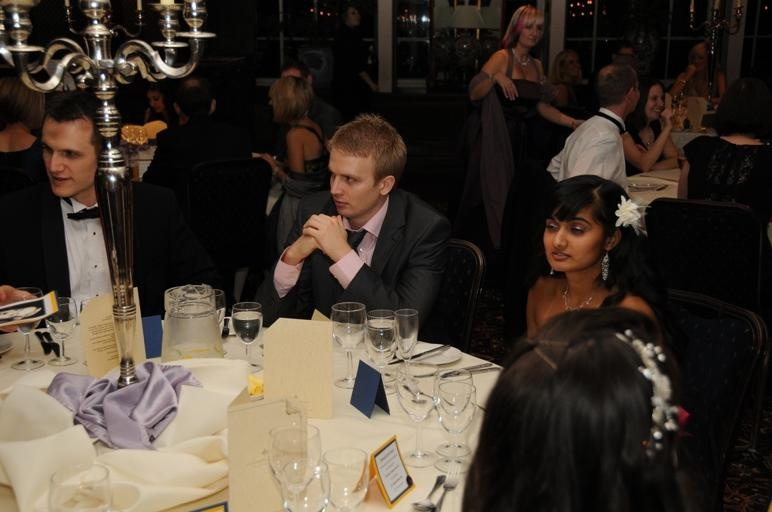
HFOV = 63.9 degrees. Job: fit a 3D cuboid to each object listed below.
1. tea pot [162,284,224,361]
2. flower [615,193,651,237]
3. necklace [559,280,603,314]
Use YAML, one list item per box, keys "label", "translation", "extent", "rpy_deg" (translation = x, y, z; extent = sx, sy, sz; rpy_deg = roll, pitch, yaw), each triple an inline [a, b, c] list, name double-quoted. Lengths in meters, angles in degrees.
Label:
- label: "tea pot"
  translation: [-0.591, 0.194, 1.939]
  extent: [0.205, 0.299, 0.205]
  rpy_deg: [-1, 0, 0]
- label: "flower"
  translation: [1.001, -0.171, 2.534]
  extent: [0.154, 0.158, 0.082]
  rpy_deg: [-10, 16, -43]
- label: "necklace"
  translation: [0.736, 0.146, 2.329]
  extent: [0.025, 0.101, 0.099]
  rpy_deg: [-28, 33, -31]
